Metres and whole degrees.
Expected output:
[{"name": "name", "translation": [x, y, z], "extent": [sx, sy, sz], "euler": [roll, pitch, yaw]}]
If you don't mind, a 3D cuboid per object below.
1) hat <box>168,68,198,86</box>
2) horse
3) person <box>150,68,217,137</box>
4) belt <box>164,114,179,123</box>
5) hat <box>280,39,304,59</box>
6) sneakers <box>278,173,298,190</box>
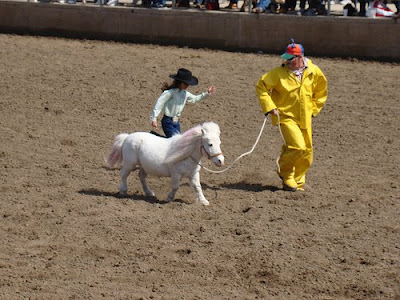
[{"name": "hat", "translation": [-0.332, -1.430, 17.545], "extent": [0.461, 0.164, 0.366], "euler": [22, 19, 2]}, {"name": "horse", "translation": [-0.755, 0.183, 17.604], "extent": [2.860, 1.689, 0.779], "euler": [7, 12, 34]}, {"name": "person", "translation": [-0.379, -0.983, 19.092], "extent": [1.101, 1.942, 1.075], "euler": [22, 26, 22]}, {"name": "belt", "translation": [-0.551, -0.649, 17.837], "extent": [0.170, 0.088, 0.162], "euler": [23, 22, 40]}, {"name": "hat", "translation": [1.844, -2.050, 17.857], "extent": [0.531, 0.321, 0.322], "euler": [-4, 15, -6]}, {"name": "sneakers", "translation": [1.763, 0.635, 18.229], "extent": [0.183, 0.202, 0.483], "euler": [-23, 39, -35]}]
